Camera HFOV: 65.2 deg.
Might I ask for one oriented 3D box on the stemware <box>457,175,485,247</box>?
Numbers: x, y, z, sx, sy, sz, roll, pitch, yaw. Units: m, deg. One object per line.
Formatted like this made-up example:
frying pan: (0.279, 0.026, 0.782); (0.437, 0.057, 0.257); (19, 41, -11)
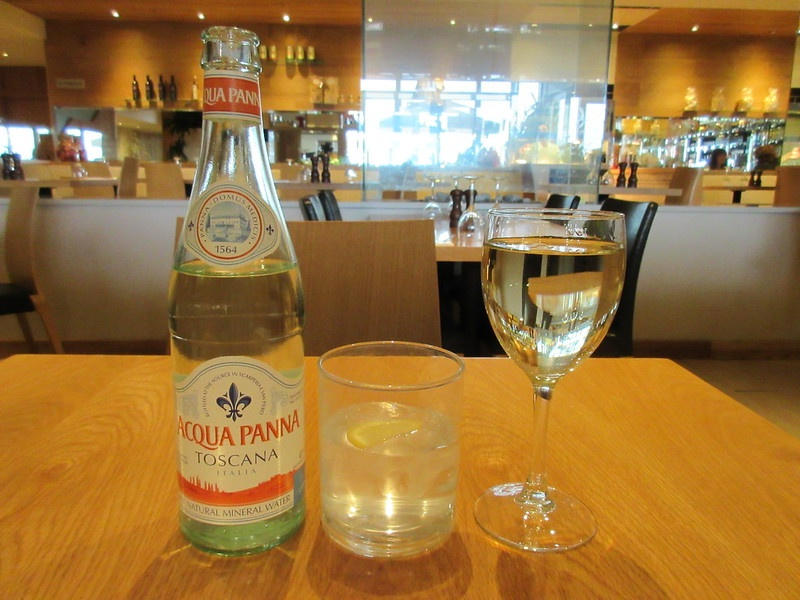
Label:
stemware: (0.271, -0.340, 2.385); (0.106, 0.253, 0.099); (1, 2, -18)

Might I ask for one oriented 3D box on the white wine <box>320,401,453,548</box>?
white wine: (-0.008, 0.123, 0.531); (0.108, 0.122, 0.108); (1, 21, -1)

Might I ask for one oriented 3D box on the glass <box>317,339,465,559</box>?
glass: (-0.005, 0.116, 0.544); (0.139, 0.165, 0.147); (1, 13, 0)

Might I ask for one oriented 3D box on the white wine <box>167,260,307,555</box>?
white wine: (-0.126, 0.080, 0.515); (0.112, 0.192, 0.137); (-4, 17, -17)
